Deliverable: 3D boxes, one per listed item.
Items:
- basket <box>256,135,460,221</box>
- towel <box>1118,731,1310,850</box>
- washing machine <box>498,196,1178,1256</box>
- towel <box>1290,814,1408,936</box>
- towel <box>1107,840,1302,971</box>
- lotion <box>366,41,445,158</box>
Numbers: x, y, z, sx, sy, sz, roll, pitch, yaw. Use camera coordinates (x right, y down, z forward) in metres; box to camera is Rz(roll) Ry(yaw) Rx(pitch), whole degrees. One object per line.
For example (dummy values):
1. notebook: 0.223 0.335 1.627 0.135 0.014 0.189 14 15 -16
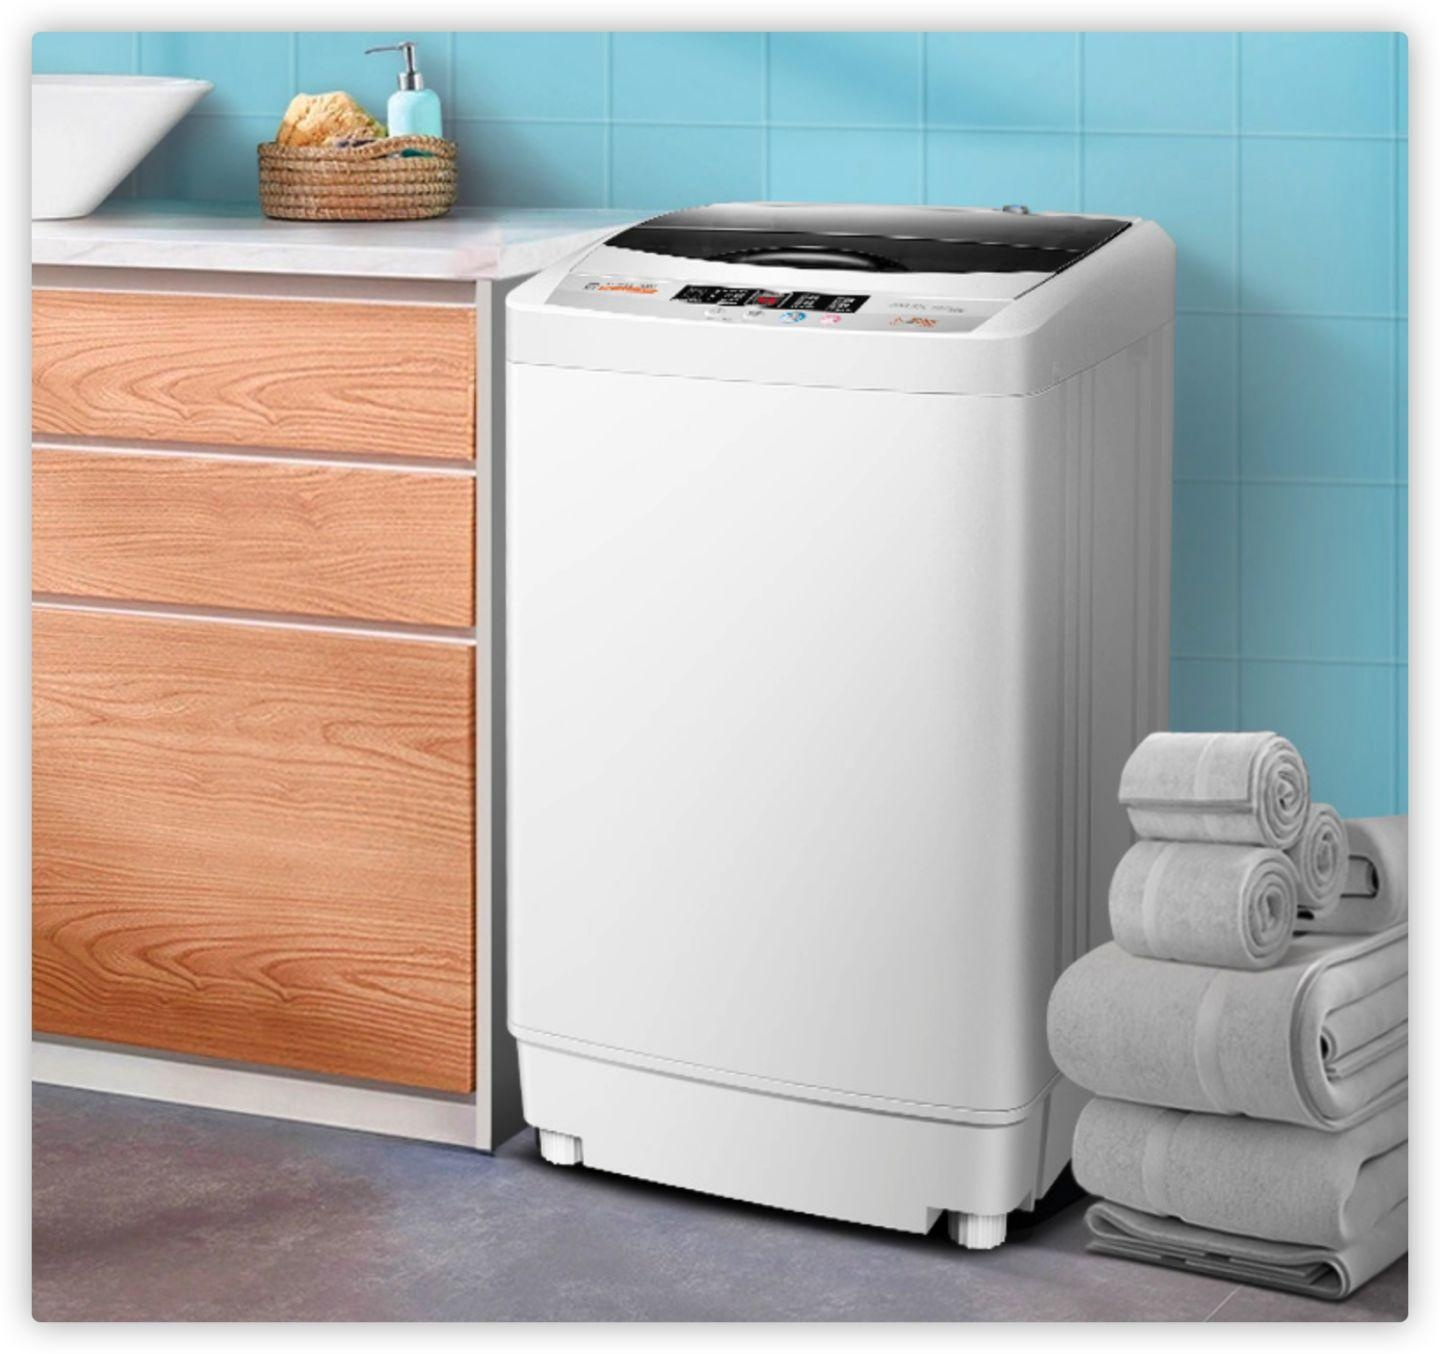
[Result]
1. basket: -0.434 -0.563 1.681 0.253 0.088 0.200 -12 21 -27
2. towel: 0.442 0.099 1.261 0.117 0.086 0.144 2 -3 -25
3. washing machine: 0.122 0.028 1.434 0.514 0.947 0.400 7 14 27
4. towel: 0.592 0.184 1.319 0.140 0.089 0.076 -4 -11 44
5. towel: 0.415 0.194 1.241 0.102 0.089 0.127 0 -2 -38
6. lotion: -0.361 -0.681 1.725 0.072 0.120 0.055 11 37 13
